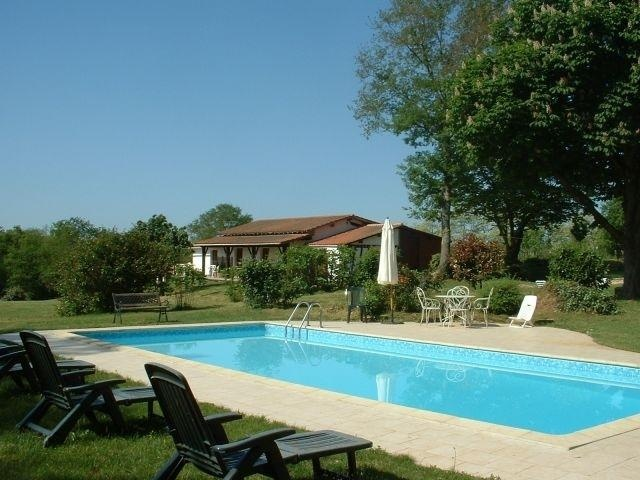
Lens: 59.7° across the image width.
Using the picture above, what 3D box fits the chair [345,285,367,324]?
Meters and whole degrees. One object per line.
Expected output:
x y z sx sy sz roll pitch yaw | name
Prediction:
1.316 2.304 20.256 0.654 1.228 1.662 0 -2 5 | chair
